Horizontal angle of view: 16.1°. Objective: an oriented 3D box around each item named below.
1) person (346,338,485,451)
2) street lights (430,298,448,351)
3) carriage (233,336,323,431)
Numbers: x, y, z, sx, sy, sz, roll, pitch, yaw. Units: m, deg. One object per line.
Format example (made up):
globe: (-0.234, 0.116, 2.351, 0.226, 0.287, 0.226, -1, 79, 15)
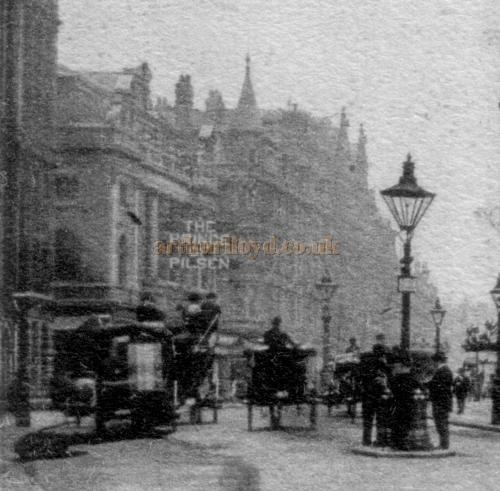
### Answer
person: (1.065, 1.088, 12.000, 0.674, 0.712, 0.352, 3, -9, -7)
street lights: (1.268, 0.541, 12.032, 0.100, 0.377, 0.190, 1, -9, 11)
carriage: (0.191, 0.916, 11.786, 0.627, 0.551, 0.636, 1, 6, 34)
